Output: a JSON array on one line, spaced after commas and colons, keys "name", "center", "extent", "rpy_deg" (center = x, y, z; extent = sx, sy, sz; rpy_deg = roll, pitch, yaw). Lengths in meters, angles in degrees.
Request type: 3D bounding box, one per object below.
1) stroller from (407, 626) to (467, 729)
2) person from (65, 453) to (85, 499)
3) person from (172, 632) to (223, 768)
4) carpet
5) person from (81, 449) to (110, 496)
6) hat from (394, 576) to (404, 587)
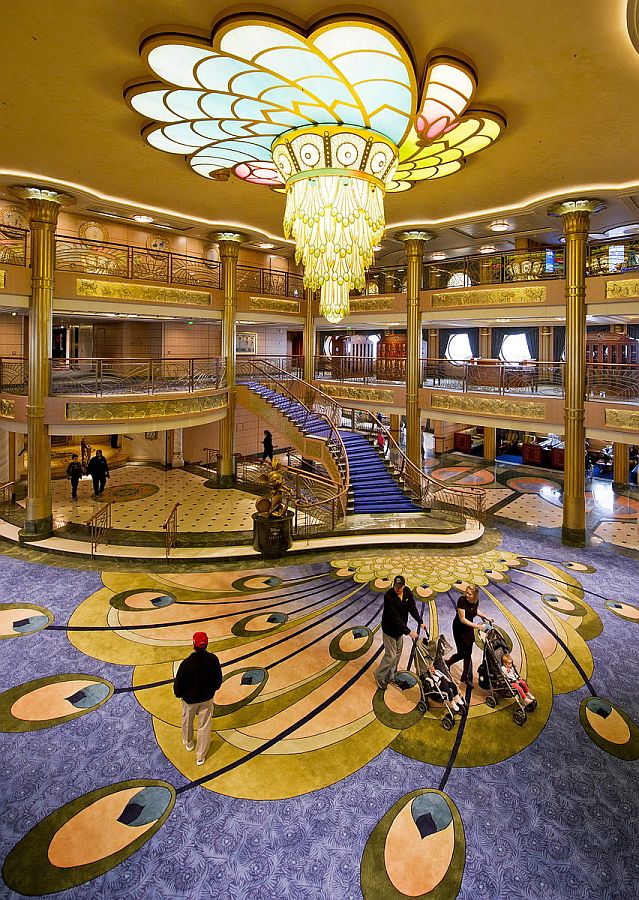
[{"name": "stroller", "center": [1.337, 2.628, 6.182], "extent": [0.756, 1.099, 0.615], "rpy_deg": [-6, -9, 34]}, {"name": "person", "center": [-7.136, 0.775, 15.725], "extent": [0.354, 1.156, 1.484], "rpy_deg": [-2, 8, -23]}, {"name": "person", "center": [-1.138, 2.322, 5.195], "extent": [0.417, 1.378, 0.486], "rpy_deg": [2, 7, 5]}, {"name": "carpet", "center": [0.062, -0.474, 17.103], "extent": [1.746, 3.779, 7.245], "rpy_deg": [-10, 9, -25]}, {"name": "person", "center": [-6.625, 0.679, 16.053], "extent": [0.517, 1.260, 1.153], "rpy_deg": [-2, 8, -23]}, {"name": "hat", "center": [0.909, 1.490, 6.122], "extent": [0.104, 0.130, 0.144], "rpy_deg": [3, 7, 10]}]
